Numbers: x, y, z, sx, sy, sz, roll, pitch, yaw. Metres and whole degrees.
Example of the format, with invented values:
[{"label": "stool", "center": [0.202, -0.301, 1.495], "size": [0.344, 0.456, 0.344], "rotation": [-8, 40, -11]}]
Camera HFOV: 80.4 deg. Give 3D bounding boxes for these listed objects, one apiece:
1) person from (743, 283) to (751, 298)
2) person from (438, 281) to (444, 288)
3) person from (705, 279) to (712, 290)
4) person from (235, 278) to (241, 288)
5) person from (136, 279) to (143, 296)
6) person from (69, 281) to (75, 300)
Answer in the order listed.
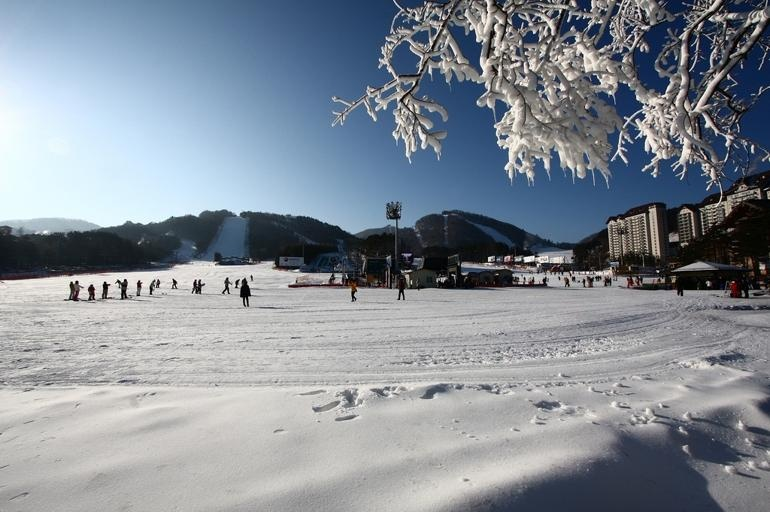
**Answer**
[{"label": "person", "center": [18.521, 1.772, 23.527], "size": [0.202, 0.723, 0.794], "rotation": [0, 0, 33]}, {"label": "person", "center": [5.424, 2.818, 44.375], "size": [0.401, 0.793, 0.765], "rotation": [2, 0, -23]}, {"label": "person", "center": [23.813, 2.111, 33.663], "size": [0.324, 0.655, 1.077], "rotation": [0, 0, 30]}, {"label": "person", "center": [-16.821, 3.164, 52.156], "size": [0.415, 0.606, 1.102], "rotation": [10, 5, 7]}, {"label": "person", "center": [-17.339, 2.302, 32.185], "size": [0.253, 1.134, 1.898], "rotation": [0, 0, -23]}, {"label": "person", "center": [-19.034, 2.164, 27.859], "size": [0.254, 1.189, 1.395], "rotation": [0, 0, -32]}]
